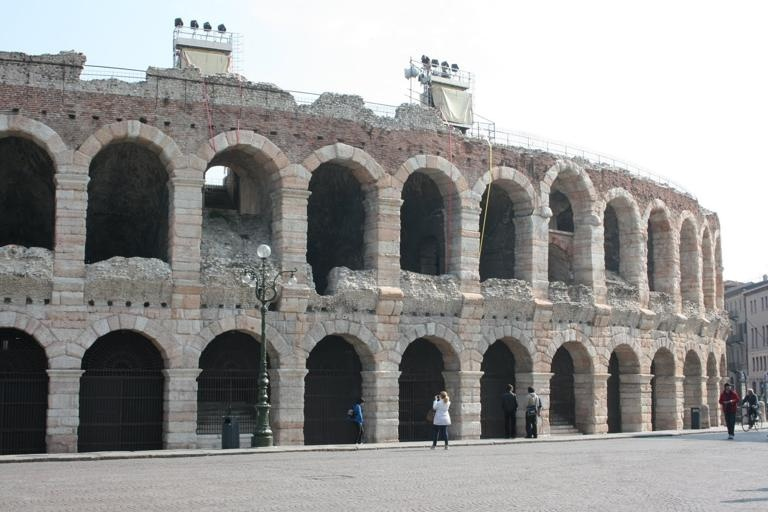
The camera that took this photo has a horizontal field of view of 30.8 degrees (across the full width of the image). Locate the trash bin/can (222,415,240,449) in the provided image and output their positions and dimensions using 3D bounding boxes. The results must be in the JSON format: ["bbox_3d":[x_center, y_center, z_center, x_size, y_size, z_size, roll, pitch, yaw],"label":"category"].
[{"bbox_3d":[-5.668,6.459,51.331,0.585,1.271,0.697,2,-14,-13],"label":"trash bin/can"}]

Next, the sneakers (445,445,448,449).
[{"bbox_3d":[2.304,6.992,51.104,0.118,0.109,0.106,0,-11,-6],"label":"sneakers"}]

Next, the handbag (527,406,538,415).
[{"bbox_3d":[6.114,6.343,57.340,0.348,0.253,0.354,-1,-5,3],"label":"handbag"}]

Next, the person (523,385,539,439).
[{"bbox_3d":[6.195,6.398,57.678,0.659,2.096,0.835,-2,-14,6],"label":"person"}]

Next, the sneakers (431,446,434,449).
[{"bbox_3d":[1.809,7.029,51.358,0.140,0.097,0.104,0,-16,-1],"label":"sneakers"}]

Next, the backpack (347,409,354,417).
[{"bbox_3d":[-1.298,5.986,53.361,0.475,0.239,0.652,0,-9,0],"label":"backpack"}]
